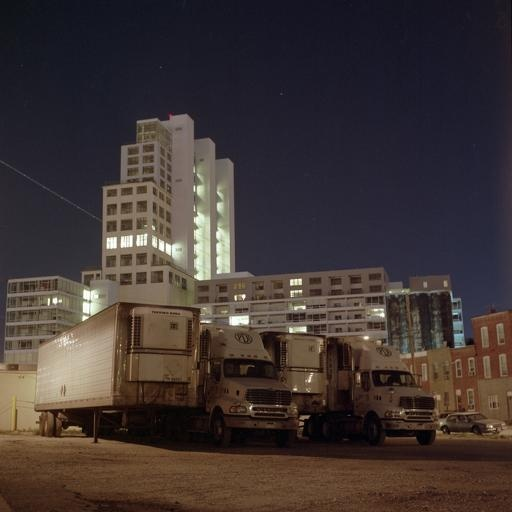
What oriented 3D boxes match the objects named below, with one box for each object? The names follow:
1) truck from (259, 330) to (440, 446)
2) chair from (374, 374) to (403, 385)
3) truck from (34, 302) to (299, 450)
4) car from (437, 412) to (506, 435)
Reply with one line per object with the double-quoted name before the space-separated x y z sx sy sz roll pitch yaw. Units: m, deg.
"truck" 3.791 5.646 25.002 4.843 3.429 6.543 8 -16 -34
"chair" 5.430 5.122 23.934 1.147 0.484 0.452 -3 -15 6
"truck" -4.771 4.510 22.901 5.060 4.241 11.166 8 -17 -36
"car" 13.714 10.728 37.154 1.729 1.344 3.782 10 -19 -34
